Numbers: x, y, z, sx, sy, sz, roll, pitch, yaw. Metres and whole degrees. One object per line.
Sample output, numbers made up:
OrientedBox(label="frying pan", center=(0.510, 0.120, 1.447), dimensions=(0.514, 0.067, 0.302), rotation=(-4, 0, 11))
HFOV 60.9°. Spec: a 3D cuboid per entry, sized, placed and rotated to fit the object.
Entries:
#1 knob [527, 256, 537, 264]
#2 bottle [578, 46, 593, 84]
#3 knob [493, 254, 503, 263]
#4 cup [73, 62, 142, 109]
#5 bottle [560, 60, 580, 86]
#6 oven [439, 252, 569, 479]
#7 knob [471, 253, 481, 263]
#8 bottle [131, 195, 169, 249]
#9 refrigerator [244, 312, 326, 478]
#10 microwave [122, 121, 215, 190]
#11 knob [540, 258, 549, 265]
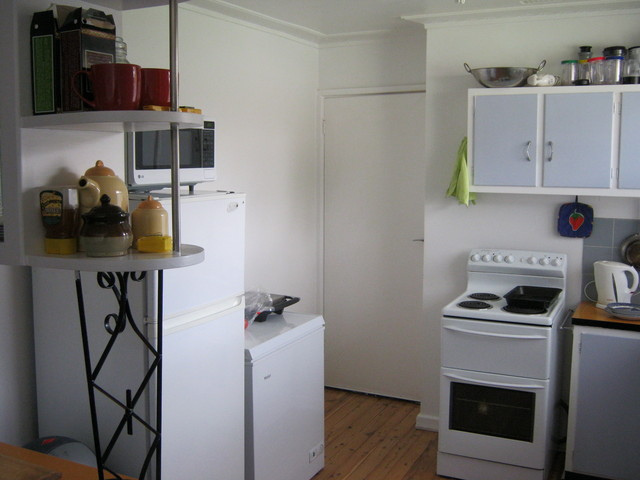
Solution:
OrientedBox(label="knob", center=(1.415, 0.133, 3.640), dimensions=(0.059, 0.049, 0.030), rotation=(1, 10, 17))
OrientedBox(label="bottle", center=(1.655, -1.098, 3.405), dimensions=(0.074, 0.243, 0.216), rotation=(3, 10, 26))
OrientedBox(label="knob", center=(1.208, 0.123, 3.706), dimensions=(0.061, 0.054, 0.039), rotation=(1, 10, 15))
OrientedBox(label="cup", center=(-0.715, -0.496, 1.813), dimensions=(0.232, 0.164, 0.147), rotation=(-4, 1, -27))
OrientedBox(label="bottle", center=(1.546, -1.040, 3.369), dimensions=(0.101, 0.146, 0.046), rotation=(2, 10, 21))
OrientedBox(label="oven", center=(1.176, 0.795, 3.525), dimensions=(0.674, 1.318, 0.669), rotation=(2, 10, 24))
OrientedBox(label="knob", center=(1.075, 0.120, 3.768), dimensions=(0.046, 0.061, 0.014), rotation=(1, -21, 16))
OrientedBox(label="bottle", center=(-0.615, -0.067, 1.982), dimensions=(0.132, 0.184, 0.132), rotation=(1, 8, 0))
OrientedBox(label="refrigerator", center=(-0.233, 1.027, 3.241), dimensions=(0.305, 1.012, 0.760), rotation=(2, 10, 22))
OrientedBox(label="microwave", center=(-0.667, -0.436, 2.738), dimensions=(0.511, 0.319, 0.200), rotation=(3, 6, 22))
OrientedBox(label="knob", center=(1.490, 0.139, 3.616), dimensions=(0.049, 0.041, 0.024), rotation=(-3, 9, -5))
